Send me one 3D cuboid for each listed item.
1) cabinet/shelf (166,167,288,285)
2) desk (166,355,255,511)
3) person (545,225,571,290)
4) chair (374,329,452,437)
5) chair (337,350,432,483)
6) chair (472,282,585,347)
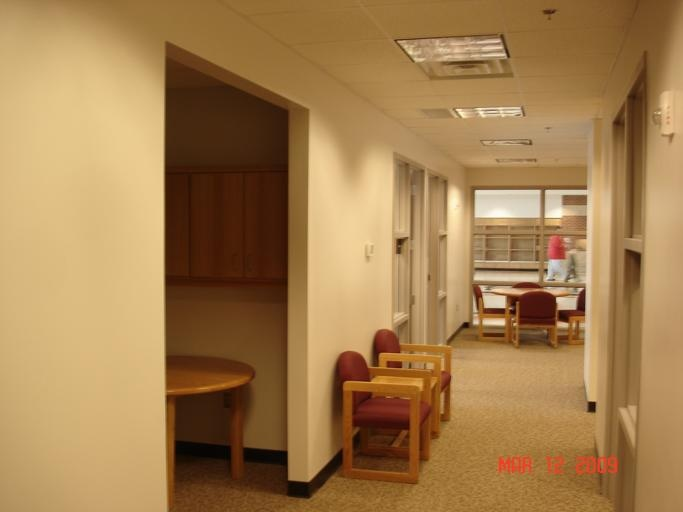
[{"bbox_3d":[-0.929,-0.257,4.497,1.012,0.871,0.358,0,2,10],"label":"cabinet/shelf"},{"bbox_3d":[-0.997,1.317,3.999,0.898,0.625,0.901,0,5,4],"label":"desk"},{"bbox_3d":[4.463,0.008,11.139,0.407,0.991,0.392,-10,24,17],"label":"person"},{"bbox_3d":[0.791,1.199,5.597,1.045,1.230,0.882,-1,0,18],"label":"chair"},{"bbox_3d":[0.360,1.294,4.585,0.774,0.994,0.903,1,3,11],"label":"chair"},{"bbox_3d":[3.299,1.028,10.072,1.429,0.870,1.205,-1,2,12],"label":"chair"}]
